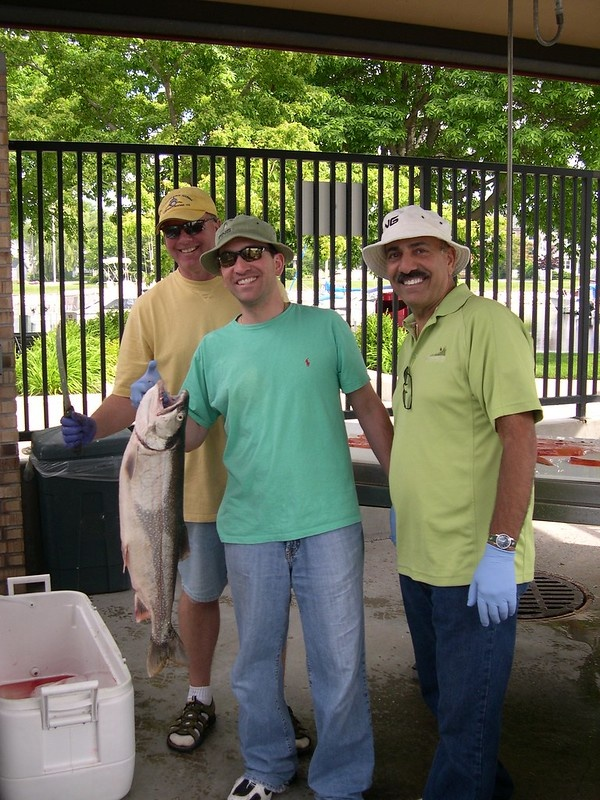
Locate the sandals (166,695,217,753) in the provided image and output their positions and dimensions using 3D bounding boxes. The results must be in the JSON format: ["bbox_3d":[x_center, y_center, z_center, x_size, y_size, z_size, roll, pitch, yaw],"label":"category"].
[{"bbox_3d":[-0.423,1.257,2.986,0.137,0.107,0.315,8,6,13],"label":"sandals"}]

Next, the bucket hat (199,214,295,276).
[{"bbox_3d":[-0.173,-0.514,2.486,0.210,0.105,0.226,-4,-17,6],"label":"bucket hat"}]

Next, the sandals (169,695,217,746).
[{"bbox_3d":[-0.424,1.257,2.990,0.133,0.113,0.321,6,5,12],"label":"sandals"}]

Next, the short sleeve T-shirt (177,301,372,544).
[{"bbox_3d":[-0.088,0.074,2.440,0.588,0.750,0.329,-2,9,3],"label":"short sleeve T-shirt"}]

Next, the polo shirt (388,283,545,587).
[{"bbox_3d":[0.480,0.077,2.253,0.413,0.841,0.692,2,-2,-16],"label":"polo shirt"}]

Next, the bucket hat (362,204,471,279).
[{"bbox_3d":[0.370,-0.512,2.376,0.275,0.130,0.298,-5,-12,26],"label":"bucket hat"}]

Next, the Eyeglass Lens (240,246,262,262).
[{"bbox_3d":[-0.151,-0.460,2.374,0.072,0.052,0.026,-3,9,-5],"label":"Eyeglass Lens"}]

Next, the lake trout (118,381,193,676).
[{"bbox_3d":[-0.438,0.420,2.345,0.223,0.966,0.220,-6,10,-14],"label":"lake trout"}]

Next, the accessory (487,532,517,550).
[{"bbox_3d":[0.513,0.360,1.931,0.069,0.048,0.028,0,10,17],"label":"accessory"}]

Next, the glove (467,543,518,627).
[{"bbox_3d":[0.517,0.488,1.966,0.130,0.247,0.100,-8,10,-28],"label":"glove"}]
